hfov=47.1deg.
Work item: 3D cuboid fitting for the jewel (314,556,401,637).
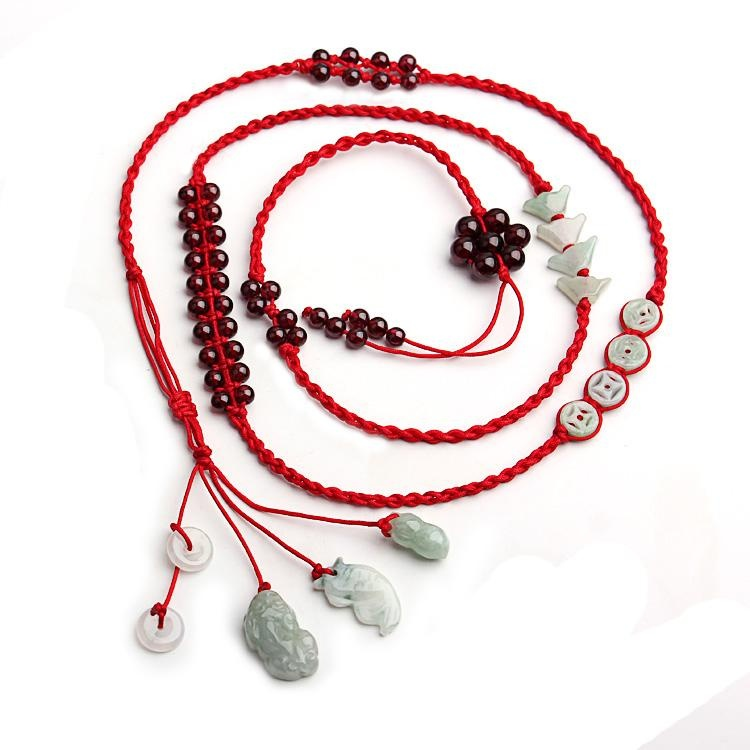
[{"bbox_3d":[-0.022,0.414,1.618,0.175,0.068,0.099,28,-81,-7],"label":"jewel"}]

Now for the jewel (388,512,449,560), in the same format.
[{"bbox_3d":[0.088,0.310,1.678,0.138,0.078,0.065,14,-90,20],"label":"jewel"}]
